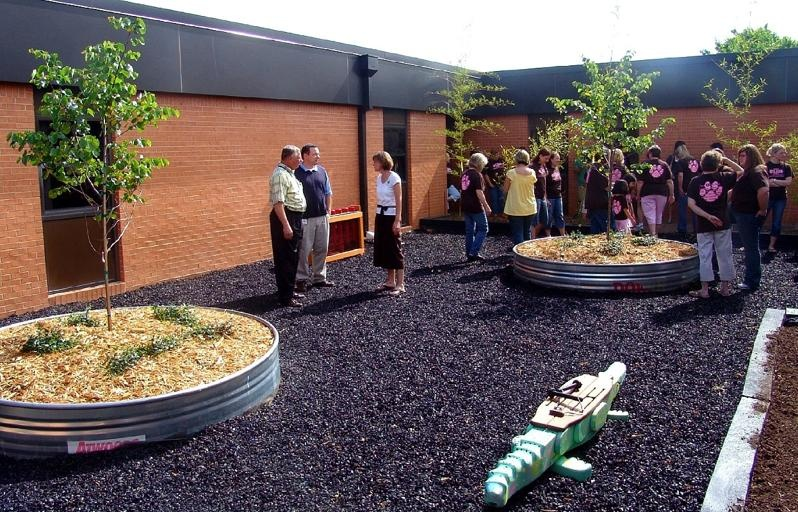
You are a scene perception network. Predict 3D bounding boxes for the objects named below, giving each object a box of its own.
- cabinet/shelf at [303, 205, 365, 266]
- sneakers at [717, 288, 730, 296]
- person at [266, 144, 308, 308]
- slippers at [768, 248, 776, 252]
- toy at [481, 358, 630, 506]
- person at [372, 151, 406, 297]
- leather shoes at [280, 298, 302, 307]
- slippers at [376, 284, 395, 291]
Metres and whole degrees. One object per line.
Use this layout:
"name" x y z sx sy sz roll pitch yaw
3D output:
"cabinet/shelf" -1.418 -0.499 11.083 0.713 1.083 1.283 7 12 33
"sneakers" 4.974 0.541 7.979 0.079 0.152 0.165 0 25 9
"person" -1.713 -0.444 7.977 0.448 2.363 0.569 -1 15 0
"slippers" 7.810 -0.117 10.910 0.102 0.071 0.291 -2 2 25
"toy" 1.368 1.393 4.395 0.607 0.470 1.586 17 36 39
"person" -0.172 -0.510 8.457 0.504 2.275 0.596 -1 15 0
"leather shoes" -1.691 0.704 8.097 0.272 0.101 0.161 -2 9 2
"slippers" -0.229 0.519 8.797 0.306 0.086 0.120 3 7 19
